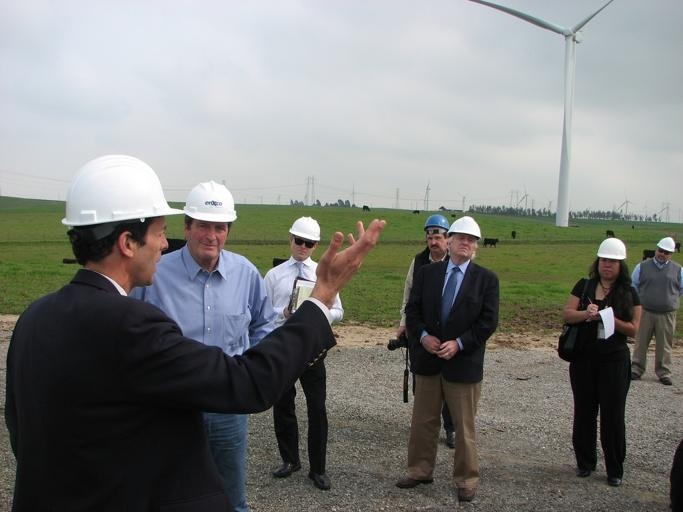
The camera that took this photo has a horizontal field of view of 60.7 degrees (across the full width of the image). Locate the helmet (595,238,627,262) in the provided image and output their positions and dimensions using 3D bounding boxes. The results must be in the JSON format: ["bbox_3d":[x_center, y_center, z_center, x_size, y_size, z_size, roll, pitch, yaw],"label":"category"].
[{"bbox_3d":[3.233,-0.023,6.902,0.253,0.211,0.350,20,6,37],"label":"helmet"}]

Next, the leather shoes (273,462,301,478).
[{"bbox_3d":[-0.595,2.290,6.250,0.281,0.123,0.101,6,-4,-43],"label":"leather shoes"}]

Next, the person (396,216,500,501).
[{"bbox_3d":[1.152,0.974,6.292,0.989,2.796,1.212,2,3,21],"label":"person"}]

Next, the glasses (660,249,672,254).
[{"bbox_3d":[5.712,-0.076,10.195,0.191,0.075,0.146,1,4,4],"label":"glasses"}]

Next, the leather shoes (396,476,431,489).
[{"bbox_3d":[0.765,2.338,6.058,0.376,0.183,0.136,5,-1,-12],"label":"leather shoes"}]

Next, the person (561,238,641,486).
[{"bbox_3d":[2.927,1.101,6.599,0.792,2.575,1.043,2,3,28],"label":"person"}]

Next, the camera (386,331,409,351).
[{"bbox_3d":[0.657,1.067,7.047,0.150,0.206,0.412,0,12,41],"label":"camera"}]

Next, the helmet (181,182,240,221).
[{"bbox_3d":[-1.185,-0.482,5.278,0.454,0.394,0.588,2,0,-26],"label":"helmet"}]

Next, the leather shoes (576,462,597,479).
[{"bbox_3d":[2.676,2.341,6.350,0.092,0.132,0.284,-5,-10,41],"label":"leather shoes"}]

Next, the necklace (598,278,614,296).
[{"bbox_3d":[3.125,0.376,6.904,0.130,0.199,0.090,15,-3,26],"label":"necklace"}]

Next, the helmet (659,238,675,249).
[{"bbox_3d":[5.781,-0.200,10.335,0.244,0.247,0.450,2,4,28],"label":"helmet"}]

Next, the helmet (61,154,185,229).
[{"bbox_3d":[-1.232,-0.381,3.276,0.636,0.361,0.546,-7,8,-14],"label":"helmet"}]

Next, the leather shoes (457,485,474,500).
[{"bbox_3d":[1.242,2.347,5.742,0.173,0.119,0.139,1,3,9],"label":"leather shoes"}]
